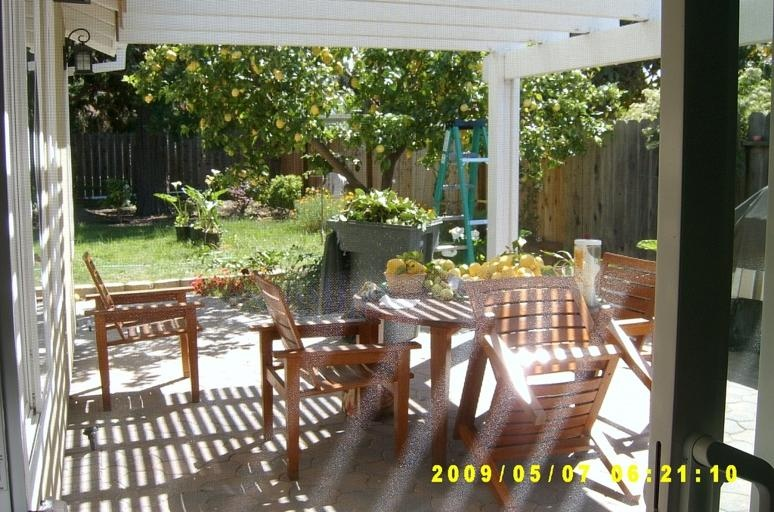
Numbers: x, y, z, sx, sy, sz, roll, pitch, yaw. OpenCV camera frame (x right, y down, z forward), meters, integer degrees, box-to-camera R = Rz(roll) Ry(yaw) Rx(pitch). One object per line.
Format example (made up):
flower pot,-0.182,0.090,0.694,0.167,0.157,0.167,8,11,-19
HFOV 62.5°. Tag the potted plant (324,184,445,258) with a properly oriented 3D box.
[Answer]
potted plant,0.025,-0.201,3.951,0.467,0.475,0.596,-3,10,-36

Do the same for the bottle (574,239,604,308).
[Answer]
bottle,0.804,0.058,2.555,0.103,0.289,0.121,0,4,6

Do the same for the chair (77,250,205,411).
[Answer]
chair,-1.290,0.325,3.375,0.505,0.746,0.768,-6,12,-26

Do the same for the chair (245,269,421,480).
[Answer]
chair,-0.241,0.419,2.677,0.604,0.862,0.654,-2,6,-25

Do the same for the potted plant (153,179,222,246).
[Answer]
potted plant,-1.781,-0.401,5.715,0.414,0.551,0.473,-6,12,-42
